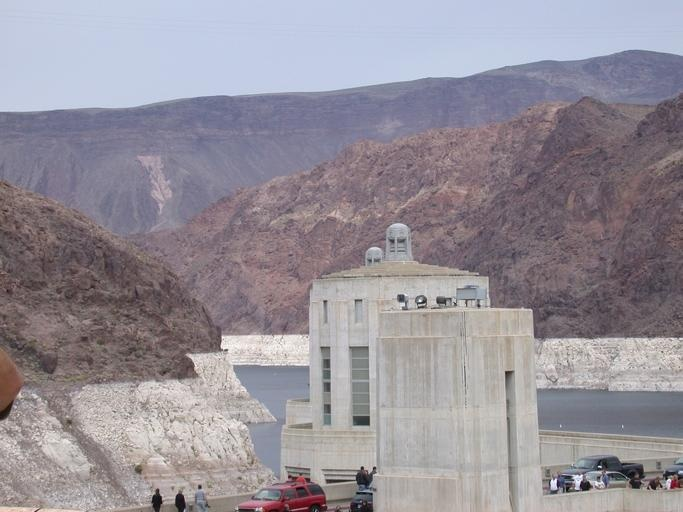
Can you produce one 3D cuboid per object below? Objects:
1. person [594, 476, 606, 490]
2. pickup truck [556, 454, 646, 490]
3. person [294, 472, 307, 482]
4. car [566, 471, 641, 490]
[{"bbox_3d":[22.159,19.744,176.788,0.836,1.436,0.833,5,7,20],"label":"person"},{"bbox_3d":[22.785,19.229,179.896,7.179,2.424,3.018,2,-4,-32],"label":"pickup truck"},{"bbox_3d":[-3.572,19.743,181.376,0.793,0.689,0.659,4,13,1],"label":"person"},{"bbox_3d":[22.307,19.621,177.808,4.532,1.595,2.079,-5,7,-30],"label":"car"}]
